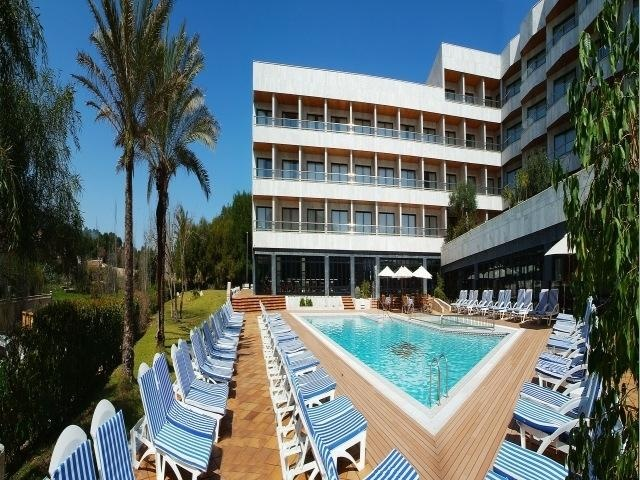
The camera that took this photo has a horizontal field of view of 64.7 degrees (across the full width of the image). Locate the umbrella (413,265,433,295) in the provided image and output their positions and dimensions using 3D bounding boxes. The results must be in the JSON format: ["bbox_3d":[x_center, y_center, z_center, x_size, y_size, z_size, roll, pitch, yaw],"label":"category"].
[{"bbox_3d":[6.741,2.571,32.915,1.384,2.790,1.657,-1,-3,2],"label":"umbrella"}]

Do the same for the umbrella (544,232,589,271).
[{"bbox_3d":[6.576,0.267,13.526,1.167,1.145,1.214,-2,-1,-12],"label":"umbrella"}]
